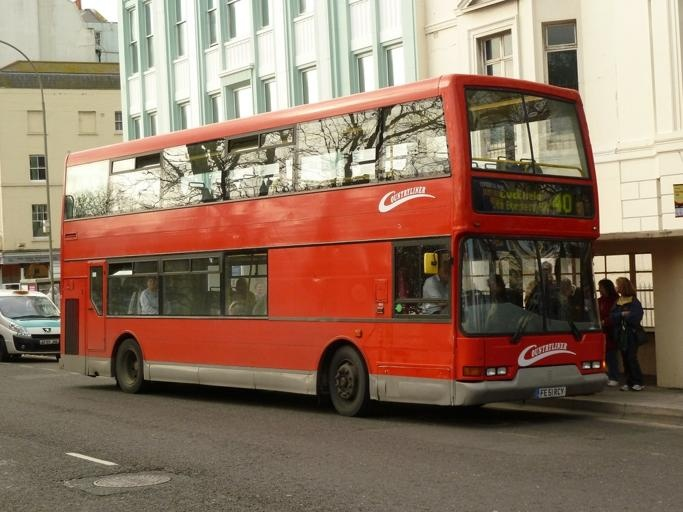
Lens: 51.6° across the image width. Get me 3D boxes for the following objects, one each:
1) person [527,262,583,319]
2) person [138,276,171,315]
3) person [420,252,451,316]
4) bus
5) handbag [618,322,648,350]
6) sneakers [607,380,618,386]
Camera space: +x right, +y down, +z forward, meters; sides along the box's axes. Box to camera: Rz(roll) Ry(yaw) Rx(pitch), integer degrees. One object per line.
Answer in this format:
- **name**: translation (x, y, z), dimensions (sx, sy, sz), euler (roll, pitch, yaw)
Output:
- **person**: translation (3.219, 0.515, 10.782), dimensions (0.874, 0.906, 0.312), euler (9, -5, -25)
- **person**: translation (-3.922, 0.857, 14.866), dimensions (0.671, 0.761, 0.445), euler (6, 15, 22)
- **person**: translation (1.372, 0.400, 10.247), dimensions (0.524, 0.875, 0.167), euler (-1, 11, 45)
- **bus**: translation (-1.306, 0.100, 14.899), dimensions (12.039, 5.307, 3.332), euler (-3, -1, 45)
- **handbag**: translation (5.444, 1.477, 13.213), dimensions (0.535, 0.565, 0.380), euler (-18, -6, 8)
- **sneakers**: translation (5.252, 2.469, 13.665), dimensions (0.079, 0.114, 0.247), euler (0, -8, -2)
